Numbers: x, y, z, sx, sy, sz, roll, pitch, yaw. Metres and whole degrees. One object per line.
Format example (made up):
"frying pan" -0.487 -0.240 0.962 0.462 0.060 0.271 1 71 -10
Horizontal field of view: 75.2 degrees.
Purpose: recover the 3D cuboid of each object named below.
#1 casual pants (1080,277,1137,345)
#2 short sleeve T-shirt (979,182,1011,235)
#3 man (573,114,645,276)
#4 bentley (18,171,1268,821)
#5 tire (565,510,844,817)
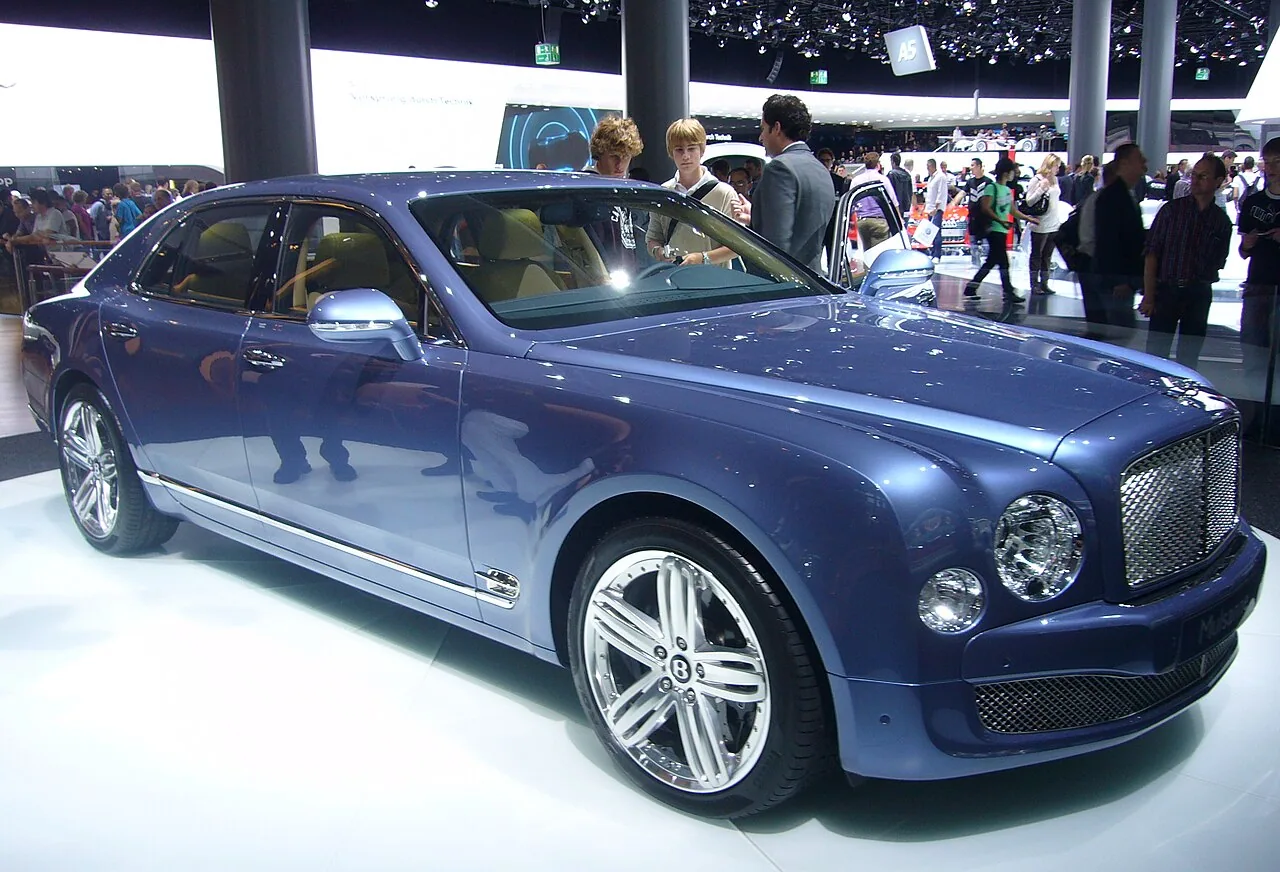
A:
"casual pants" 3.726 -0.895 6.515 0.202 0.580 0.281 12 28 18
"short sleeve T-shirt" 4.664 -2.985 10.958 0.415 0.683 0.751 -1 4 28
"man" -0.126 -0.939 3.491 0.272 0.711 0.241 -8 16 -24
"bentley" -0.530 -0.177 3.595 5.318 1.859 1.869 11 21 33
"tire" 0.183 0.689 2.534 0.299 0.901 0.968 -6 11 -41
